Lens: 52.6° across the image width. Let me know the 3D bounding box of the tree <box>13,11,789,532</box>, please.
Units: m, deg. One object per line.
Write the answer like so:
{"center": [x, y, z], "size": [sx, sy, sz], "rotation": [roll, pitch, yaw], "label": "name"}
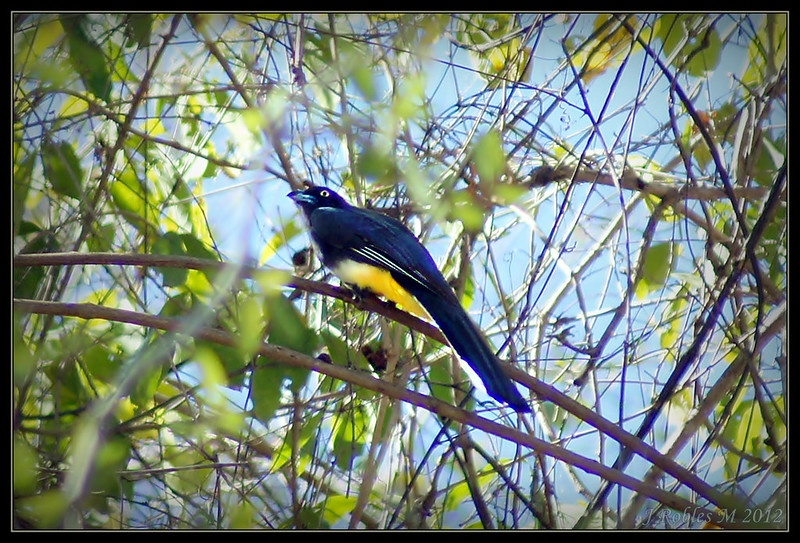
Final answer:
{"center": [0.033, -0.271, 5.111], "size": [3.678, 0.811, 3.773], "rotation": [-5, -53, 13], "label": "tree"}
